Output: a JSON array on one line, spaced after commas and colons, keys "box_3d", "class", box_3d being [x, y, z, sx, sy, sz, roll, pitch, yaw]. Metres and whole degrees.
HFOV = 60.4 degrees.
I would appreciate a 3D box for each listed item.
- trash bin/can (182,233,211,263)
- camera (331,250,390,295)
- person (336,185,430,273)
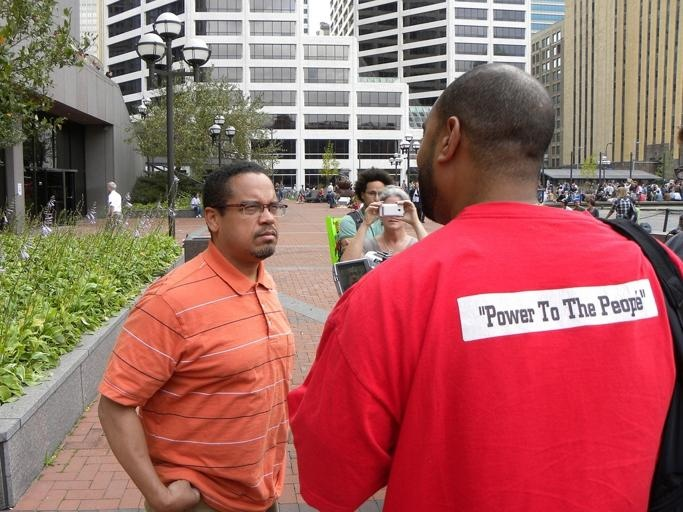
[{"box_3d": [-2.313, -0.143, 9.340, 0.458, 0.388, 0.280, 0, 14, -7], "class": "trash bin/can"}, {"box_3d": [0.090, 0.155, 3.759, 0.282, 0.237, 0.224, -12, -24, 6], "class": "camera"}, {"box_3d": [0.384, -0.253, 4.995, 0.625, 1.244, 0.604, 1, -4, -5], "class": "person"}]
